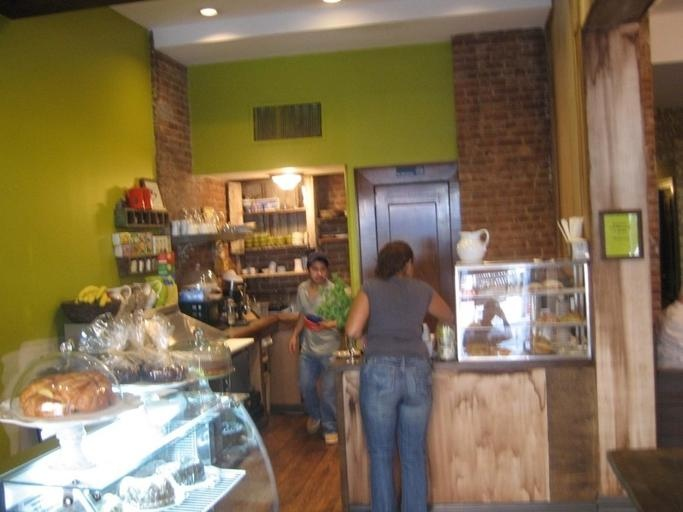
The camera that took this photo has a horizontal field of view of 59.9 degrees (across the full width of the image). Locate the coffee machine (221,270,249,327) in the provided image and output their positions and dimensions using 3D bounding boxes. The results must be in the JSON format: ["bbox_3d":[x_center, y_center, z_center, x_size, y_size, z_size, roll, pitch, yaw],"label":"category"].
[{"bbox_3d":[-1.070,0.414,5.891,0.247,0.550,0.301,-2,-2,21],"label":"coffee machine"}]

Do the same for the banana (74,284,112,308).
[{"bbox_3d":[-1.890,0.305,4.538,0.170,0.069,0.196,17,18,6],"label":"banana"}]

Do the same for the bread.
[{"bbox_3d":[-1.089,0.547,2.331,0.218,0.078,0.204,0,5,2],"label":"bread"}]

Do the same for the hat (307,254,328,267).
[{"bbox_3d":[-0.201,0.039,5.220,0.192,0.141,0.153,-5,3,-16],"label":"hat"}]

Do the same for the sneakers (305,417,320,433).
[{"bbox_3d":[-0.262,1.552,5.425,0.100,0.111,0.272,3,-9,-1],"label":"sneakers"}]

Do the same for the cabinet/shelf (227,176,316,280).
[{"bbox_3d":[-0.877,-0.241,7.349,1.070,1.303,0.408,-5,-10,-15],"label":"cabinet/shelf"}]

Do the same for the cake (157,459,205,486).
[{"bbox_3d":[-0.670,0.921,2.546,0.132,0.049,0.102,-3,-7,35],"label":"cake"}]

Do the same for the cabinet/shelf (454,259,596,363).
[{"bbox_3d":[1.270,0.373,4.202,0.887,0.705,0.540,-2,1,6],"label":"cabinet/shelf"}]

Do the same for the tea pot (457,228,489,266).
[{"bbox_3d":[0.936,-0.079,4.170,0.190,0.260,0.240,-9,9,-42],"label":"tea pot"}]

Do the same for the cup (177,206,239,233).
[{"bbox_3d":[-1.423,-0.387,6.178,0.352,0.186,0.514,0,0,-26],"label":"cup"}]

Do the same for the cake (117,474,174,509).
[{"bbox_3d":[-0.801,0.964,2.437,0.146,0.066,0.151,2,0,-12],"label":"cake"}]
